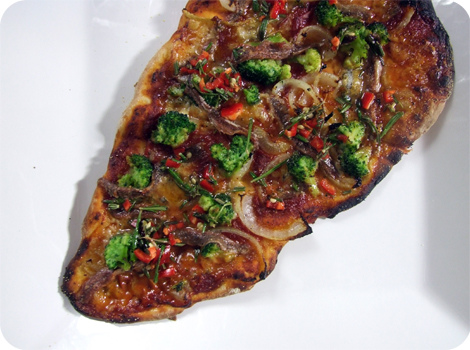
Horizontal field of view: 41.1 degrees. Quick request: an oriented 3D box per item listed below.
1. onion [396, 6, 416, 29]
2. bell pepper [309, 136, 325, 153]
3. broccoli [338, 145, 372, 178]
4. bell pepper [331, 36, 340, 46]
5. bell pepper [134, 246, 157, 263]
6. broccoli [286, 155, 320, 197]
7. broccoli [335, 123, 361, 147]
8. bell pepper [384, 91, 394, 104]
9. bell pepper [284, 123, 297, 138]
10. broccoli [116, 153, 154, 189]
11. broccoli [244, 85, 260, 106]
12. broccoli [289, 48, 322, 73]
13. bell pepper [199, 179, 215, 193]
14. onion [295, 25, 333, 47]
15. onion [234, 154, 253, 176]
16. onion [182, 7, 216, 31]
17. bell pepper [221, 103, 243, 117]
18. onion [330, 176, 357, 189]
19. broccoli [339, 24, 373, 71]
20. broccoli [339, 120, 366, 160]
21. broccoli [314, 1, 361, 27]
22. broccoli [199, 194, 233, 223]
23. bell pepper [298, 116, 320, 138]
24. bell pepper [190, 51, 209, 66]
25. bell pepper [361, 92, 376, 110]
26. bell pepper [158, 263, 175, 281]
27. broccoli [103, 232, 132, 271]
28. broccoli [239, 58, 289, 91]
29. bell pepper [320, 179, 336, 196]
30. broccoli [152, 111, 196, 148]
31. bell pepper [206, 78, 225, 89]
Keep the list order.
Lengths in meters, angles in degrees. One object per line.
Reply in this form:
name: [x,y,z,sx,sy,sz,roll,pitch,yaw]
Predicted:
onion: [1.936,-1.782,7.150,0.098,0.082,0.372,35,102,36]
bell pepper: [0.927,-0.359,7.130,0.148,0.073,0.149,42,92,-4]
broccoli: [1.375,-0.151,7.072,0.288,0.150,0.351,15,78,-14]
bell pepper: [1.124,-1.501,7.056,0.092,0.074,0.073,37,70,23]
bell pepper: [-1.002,0.881,7.040,0.191,0.058,0.199,-31,72,-9]
broccoli: [0.769,0.008,7.108,0.291,0.420,0.171,5,35,40]
broccoli: [1.291,-0.462,7.152,0.223,0.080,0.226,43,75,-4]
bell pepper: [1.730,-0.881,7.114,0.107,0.116,0.110,-6,44,-4]
bell pepper: [0.626,-0.515,7.073,0.088,0.125,0.129,21,117,-5]
broccoli: [-1.123,-0.020,7.047,0.324,0.158,0.405,31,91,19]
broccoli: [0.187,-0.888,6.999,0.182,0.064,0.200,-4,84,-9]
broccoli: [0.790,-1.264,7.070,0.333,0.186,0.207,-20,61,-6]
bell pepper: [-0.326,0.110,7.119,0.175,0.059,0.089,43,99,0]
onion: [0.878,-1.575,7.092,0.422,0.134,0.174,-13,60,-1]
onion: [0.088,-0.101,7.095,0.053,0.203,0.206,30,35,24]
onion: [-0.419,-1.748,7.102,0.413,0.125,0.176,18,64,15]
bell pepper: [-0.041,-0.726,7.080,0.228,0.077,0.125,-26,76,6]
onion: [1.247,0.081,7.170,0.277,0.089,0.105,2,61,7]
broccoli: [1.356,-1.459,7.107,0.303,0.320,0.465,23,66,17]
broccoli: [1.311,-0.412,7.055,0.281,0.136,0.420,12,93,-16]
broccoli: [1.117,-1.793,7.009,0.411,0.225,0.267,3,99,-3]
broccoli: [-0.227,0.380,7.106,0.349,0.114,0.274,42,70,-3]
bell pepper: [0.830,-0.546,7.105,0.242,0.113,0.183,-21,61,-6]
bell pepper: [-0.400,-1.308,7.029,0.116,0.067,0.223,43,79,-12]
bell pepper: [1.490,-0.854,7.140,0.163,0.064,0.172,-58,39,18]
bell pepper: [-0.793,1.073,7.111,0.197,0.107,0.135,-11,60,-1]
broccoli: [-1.309,0.831,7.041,0.298,0.223,0.380,0,61,5]
broccoli: [0.333,-1.141,7.007,0.400,0.155,0.363,-1,101,-15]
bell pepper: [1.055,0.136,7.154,0.109,0.052,0.205,-41,91,-9]
broccoli: [-0.705,-0.512,7.054,0.363,0.152,0.393,-17,100,-2]
bell pepper: [-0.224,-1.016,7.042,0.173,0.054,0.101,-32,93,7]
